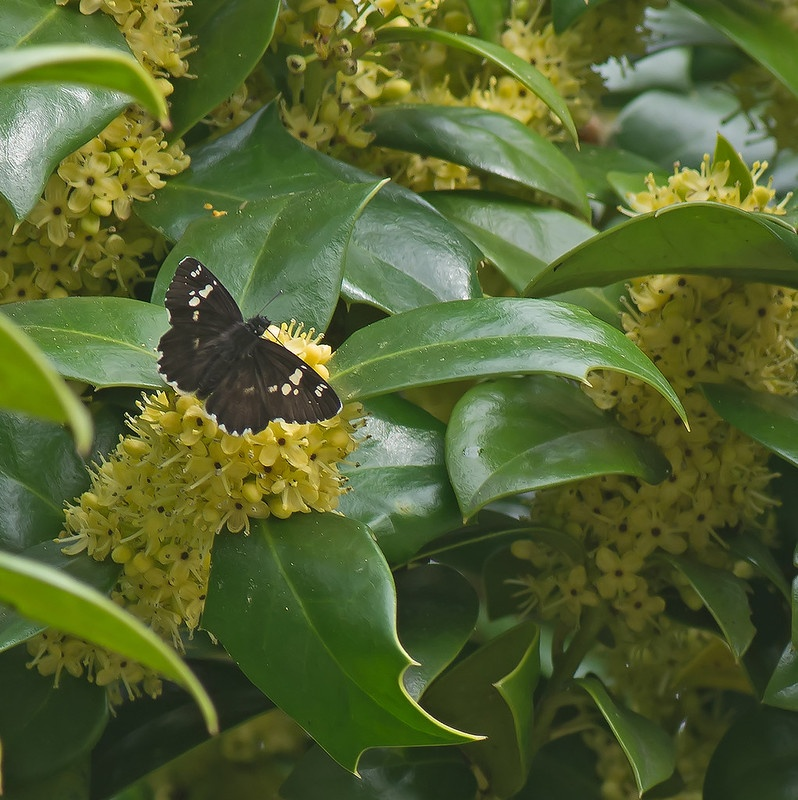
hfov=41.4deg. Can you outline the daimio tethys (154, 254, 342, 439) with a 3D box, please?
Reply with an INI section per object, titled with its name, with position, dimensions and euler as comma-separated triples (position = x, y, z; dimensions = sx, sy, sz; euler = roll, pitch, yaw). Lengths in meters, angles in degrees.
[daimio tethys]
position = -0.106, -0.022, 0.693
dimensions = 0.041, 0.167, 0.082
euler = 0, 58, 43
